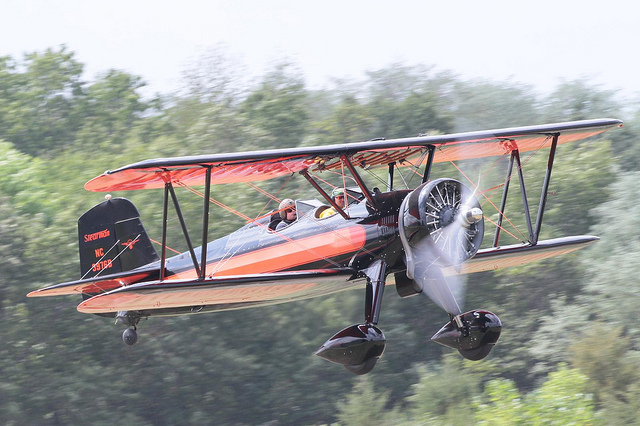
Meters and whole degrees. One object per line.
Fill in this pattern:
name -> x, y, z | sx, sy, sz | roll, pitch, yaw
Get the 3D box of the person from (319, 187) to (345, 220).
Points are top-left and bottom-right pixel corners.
person -> 0.333, -0.262, 21.459 | 0.773, 0.822, 0.758 | -6, 6, 0
